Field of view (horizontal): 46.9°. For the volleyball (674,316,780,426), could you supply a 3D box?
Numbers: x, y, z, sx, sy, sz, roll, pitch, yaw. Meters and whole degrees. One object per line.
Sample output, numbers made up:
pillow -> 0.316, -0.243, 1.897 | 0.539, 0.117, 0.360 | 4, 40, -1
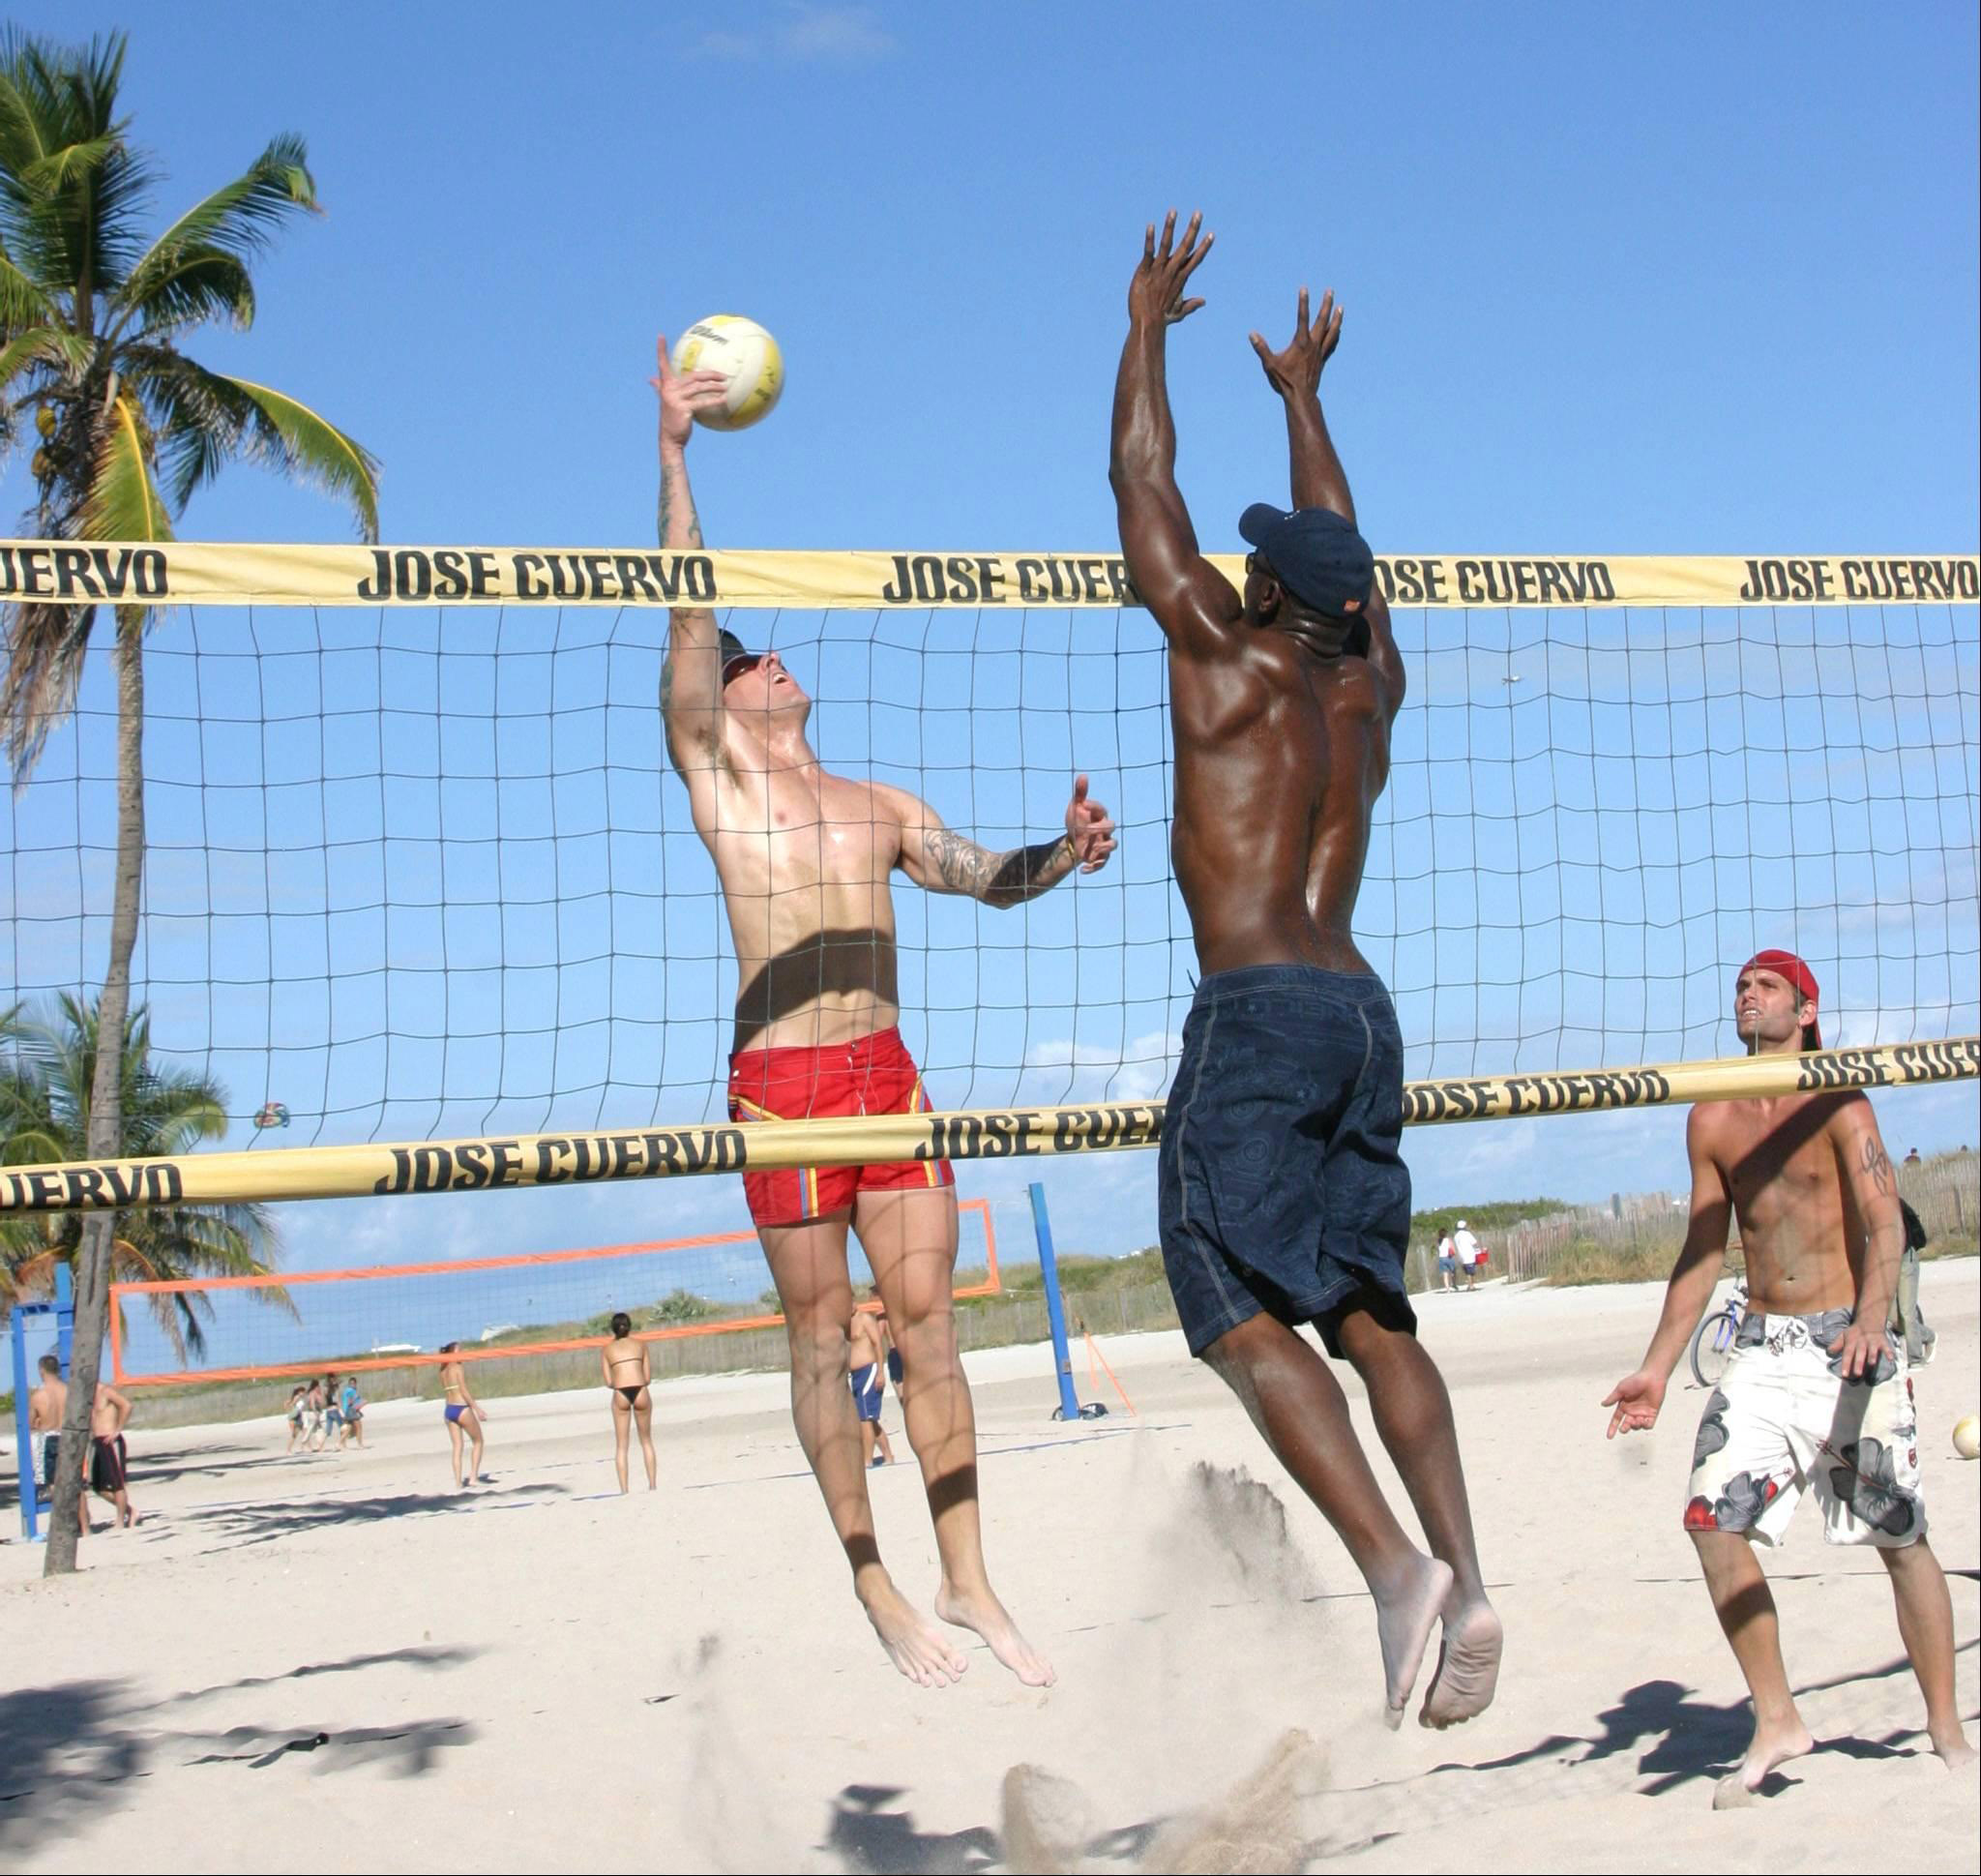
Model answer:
volleyball -> -0.640, -1.350, 5.567 | 0.236, 0.335, 0.262 | -4, -5, 10

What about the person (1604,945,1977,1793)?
person -> 1.829, 1.120, 5.223 | 0.619, 1.825, 0.676 | -7, -3, 21

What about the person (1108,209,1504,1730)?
person -> 0.571, -0.030, 4.326 | 0.572, 2.557, 0.648 | -8, -3, 28

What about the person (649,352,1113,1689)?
person -> -0.290, 0.184, 5.453 | 0.841, 2.589, 0.794 | -6, -3, -8
